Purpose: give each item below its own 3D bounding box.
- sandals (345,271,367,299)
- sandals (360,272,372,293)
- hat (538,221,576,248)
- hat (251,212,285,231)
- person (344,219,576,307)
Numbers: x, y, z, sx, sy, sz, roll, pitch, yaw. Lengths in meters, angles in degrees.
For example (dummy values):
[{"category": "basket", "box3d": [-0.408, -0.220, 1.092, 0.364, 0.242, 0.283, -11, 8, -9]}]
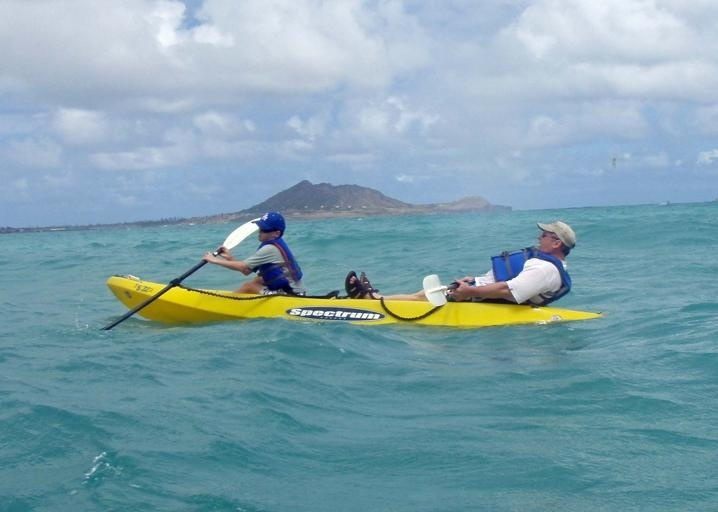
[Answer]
[{"category": "sandals", "box3d": [-0.055, 0.429, 8.747, 0.228, 0.417, 0.217, -23, 13, -33]}, {"category": "sandals", "box3d": [0.127, 0.385, 8.851, 0.160, 0.281, 0.130, -19, -13, -4]}, {"category": "hat", "box3d": [2.595, -0.263, 8.069, 0.476, 0.390, 0.609, 3, 12, 13]}, {"category": "hat", "box3d": [-1.252, -0.476, 8.729, 0.401, 0.304, 0.352, -1, 13, -9]}, {"category": "person", "box3d": [1.486, 0.277, 8.641, 3.353, 0.790, 1.501, -7, 7, 23]}]
